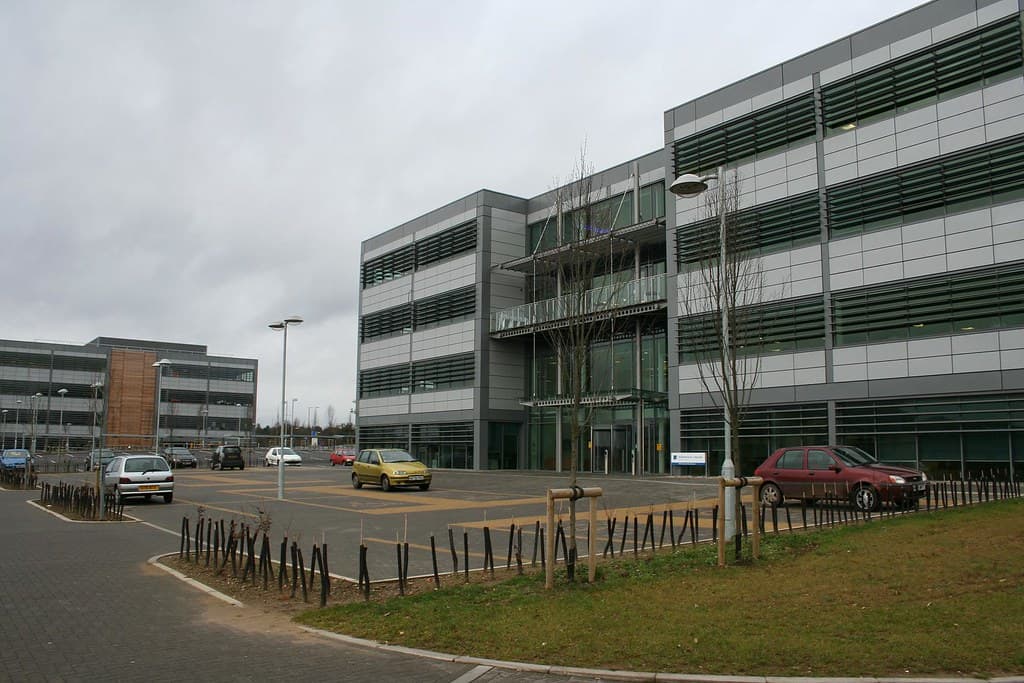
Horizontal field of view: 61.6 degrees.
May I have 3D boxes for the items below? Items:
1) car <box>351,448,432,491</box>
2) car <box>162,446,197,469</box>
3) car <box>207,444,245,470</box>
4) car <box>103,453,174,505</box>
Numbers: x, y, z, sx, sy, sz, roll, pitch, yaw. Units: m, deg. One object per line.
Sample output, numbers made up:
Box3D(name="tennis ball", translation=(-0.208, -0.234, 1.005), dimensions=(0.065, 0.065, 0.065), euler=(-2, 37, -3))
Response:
Box3D(name="car", translation=(-5.114, 5.432, 36.114), dimensions=(1.504, 1.497, 3.503), euler=(-2, -1, -44))
Box3D(name="car", translation=(-24.687, 8.609, 63.562), dimensions=(1.541, 1.315, 2.884), euler=(7, -15, -35))
Box3D(name="car", translation=(-20.697, 8.538, 62.551), dimensions=(1.686, 1.292, 2.775), euler=(3, -4, -33))
Box3D(name="car", translation=(-14.518, 5.287, 33.109), dimensions=(1.770, 1.282, 2.935), euler=(2, -3, -33))
